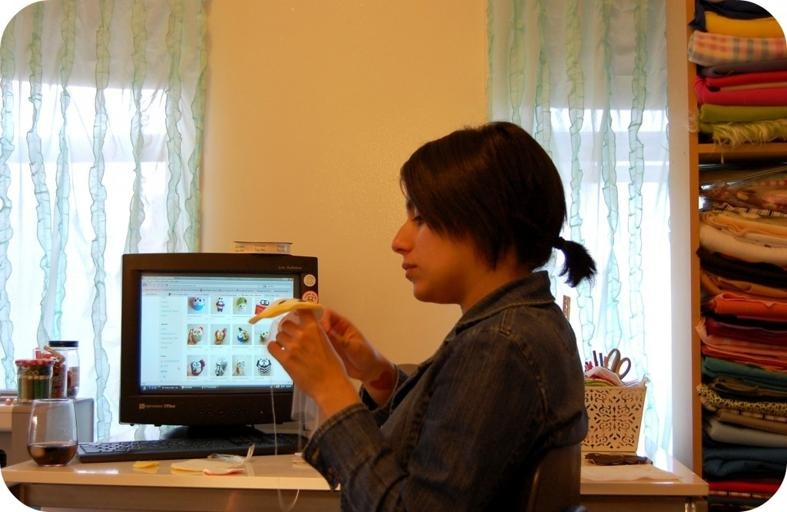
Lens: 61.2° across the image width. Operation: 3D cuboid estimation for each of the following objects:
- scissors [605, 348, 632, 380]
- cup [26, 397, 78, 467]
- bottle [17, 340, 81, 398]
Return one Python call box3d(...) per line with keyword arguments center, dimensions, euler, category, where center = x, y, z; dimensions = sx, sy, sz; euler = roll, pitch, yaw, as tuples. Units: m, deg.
box3d(center=(0.909, 0.434, 2.710), dimensions=(0.034, 0.142, 0.145), euler=(7, -5, 38), category="scissors")
box3d(center=(-1.240, 0.636, 2.406), dimensions=(0.204, 0.283, 0.205), euler=(-1, -16, 0), category="cup")
box3d(center=(-1.418, 0.476, 2.796), dimensions=(0.157, 0.243, 0.310), euler=(-3, -5, 12), category="bottle")
